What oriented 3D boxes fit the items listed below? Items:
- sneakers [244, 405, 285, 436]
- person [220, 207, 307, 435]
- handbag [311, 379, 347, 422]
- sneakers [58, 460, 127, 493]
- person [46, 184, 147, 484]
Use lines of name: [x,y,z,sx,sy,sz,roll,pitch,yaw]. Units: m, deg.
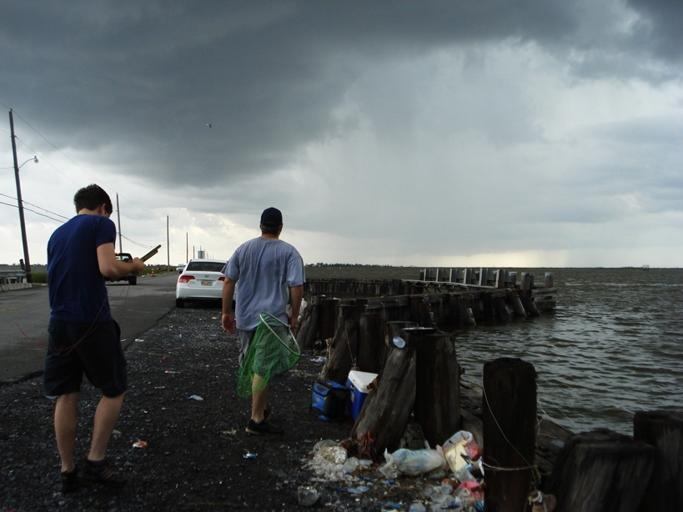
sneakers: [-0.813,1.932,5.338,0.198,0.272,0.564,4,-1,39]
person: [-0.887,0.736,5.216,0.880,2.565,0.505,1,2,-13]
handbag: [-0.161,1.845,5.890,0.338,0.436,0.577,17,-11,-28]
sneakers: [-2.216,1.956,4.211,0.585,0.282,0.236,0,-1,-15]
person: [-2.272,0.836,4.155,0.767,2.449,0.395,1,2,-14]
